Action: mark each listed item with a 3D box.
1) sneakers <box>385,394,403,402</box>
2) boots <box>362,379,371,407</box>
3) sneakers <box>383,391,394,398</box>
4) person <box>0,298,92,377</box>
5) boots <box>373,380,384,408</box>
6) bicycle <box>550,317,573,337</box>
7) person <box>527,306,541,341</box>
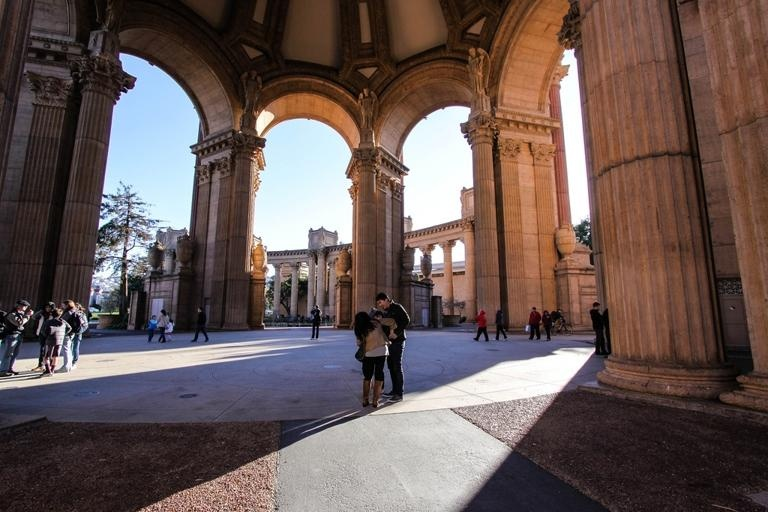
[{"bbox_3d":[0.169,2.640,8.276,0.288,0.114,0.110,5,-15,-9],"label":"sneakers"},{"bbox_3d":[-0.333,2.411,7.959,0.134,0.455,0.262,-2,6,-3],"label":"boots"},{"bbox_3d":[0.076,2.584,8.343,0.177,0.069,0.095,-1,-15,20],"label":"sneakers"},{"bbox_3d":[-7.557,1.895,10.219,0.920,1.490,1.464,-1,6,8],"label":"person"},{"bbox_3d":[-0.129,2.457,8.100,0.198,0.453,0.583,-2,6,-1],"label":"boots"},{"bbox_3d":[8.419,3.319,20.919,1.161,0.713,0.607,-9,-9,43],"label":"bicycle"},{"bbox_3d":[6.214,2.846,18.530,0.434,1.384,1.467,1,7,20],"label":"person"}]
